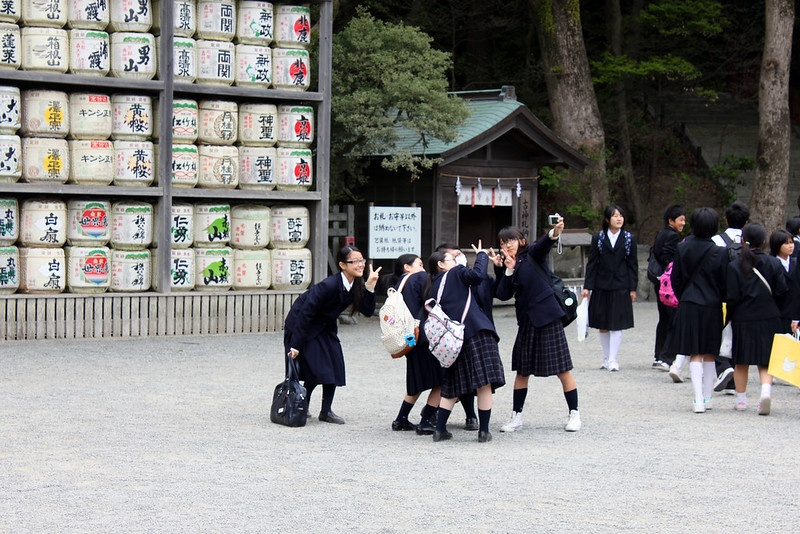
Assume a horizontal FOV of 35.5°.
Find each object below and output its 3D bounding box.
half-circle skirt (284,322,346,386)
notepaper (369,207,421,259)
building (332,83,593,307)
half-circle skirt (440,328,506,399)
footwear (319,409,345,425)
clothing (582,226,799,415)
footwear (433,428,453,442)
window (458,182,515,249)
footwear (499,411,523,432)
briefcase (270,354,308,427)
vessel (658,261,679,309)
[{"bbox_3d":[-0.982,1.067,14.475,0.726,1.079,0.813,-2,1,-5],"label":"half-circle skirt"},{"bbox_3d":[-0.049,-0.553,20.560,1.073,0.871,0.137,2,2,39],"label":"notepaper"},{"bbox_3d":[1.285,-1.604,23.769,4.818,3.825,3.810,-3,2,-45],"label":"building"},{"bbox_3d":[0.769,1.058,14.032,0.900,0.919,0.696,0,-6,-4],"label":"half-circle skirt"},{"bbox_3d":[-0.837,1.773,14.657,0.339,0.135,0.122,-1,-2,21],"label":"footwear"},{"bbox_3d":[3.842,0.596,14.979,1.265,2.238,0.851,3,13,10],"label":"clothing"},{"bbox_3d":[0.441,1.878,13.984,0.095,0.149,0.237,9,15,39],"label":"footwear"},{"bbox_3d":[1.600,-0.977,23.321,1.438,1.589,0.062,1,7,13],"label":"window"},{"bbox_3d":[1.268,1.776,14.422,0.364,0.196,0.127,-5,5,-39],"label":"footwear"},{"bbox_3d":[-1.303,1.429,14.386,0.430,0.785,0.351,0,13,-3],"label":"briefcase"},{"bbox_3d":[3.553,0.298,16.427,0.261,0.432,0.355,-4,-36,4],"label":"vessel"}]
